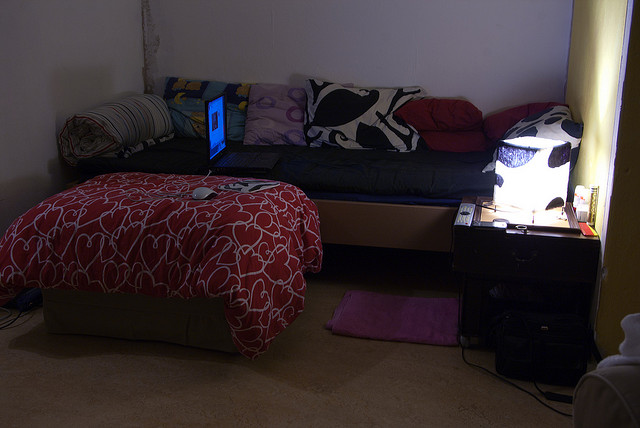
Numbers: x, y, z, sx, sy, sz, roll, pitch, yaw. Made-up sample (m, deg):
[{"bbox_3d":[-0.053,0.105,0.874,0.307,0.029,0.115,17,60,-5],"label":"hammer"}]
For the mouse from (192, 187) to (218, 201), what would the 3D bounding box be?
[{"bbox_3d":[-0.612,-0.111,2.433,0.097,0.031,0.069,-16,30,-36],"label":"mouse"}]

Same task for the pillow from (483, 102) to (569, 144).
[{"bbox_3d":[1.423,-0.669,3.365,0.385,0.113,0.359,-42,24,-21],"label":"pillow"}]

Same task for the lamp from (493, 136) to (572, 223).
[{"bbox_3d":[1.128,-0.205,2.493,0.346,0.329,0.354,7,18,30],"label":"lamp"}]

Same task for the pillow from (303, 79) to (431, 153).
[{"bbox_3d":[0.334,-0.737,3.402,0.848,0.527,0.255,3,-4,1],"label":"pillow"}]

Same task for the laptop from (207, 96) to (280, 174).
[{"bbox_3d":[-0.513,-0.556,3.177,0.418,0.452,0.576,2,17,-3],"label":"laptop"}]

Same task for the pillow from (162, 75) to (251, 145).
[{"bbox_3d":[-0.966,-0.923,3.871,0.679,0.534,0.168,2,-14,4],"label":"pillow"}]

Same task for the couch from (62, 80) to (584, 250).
[{"bbox_3d":[-0.037,-0.436,3.397,2.950,0.920,1.173,4,20,10],"label":"couch"}]

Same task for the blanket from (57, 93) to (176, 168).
[{"bbox_3d":[-1.522,-0.703,3.642,0.507,0.373,0.885,4,24,15],"label":"blanket"}]
